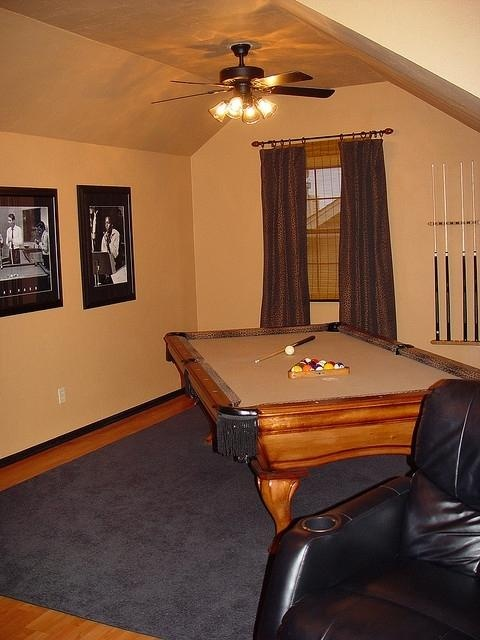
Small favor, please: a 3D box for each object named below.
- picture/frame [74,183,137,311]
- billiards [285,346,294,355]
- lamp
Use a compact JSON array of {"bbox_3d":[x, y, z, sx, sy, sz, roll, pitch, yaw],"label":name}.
[{"bbox_3d":[-1.124,-0.632,4.357,0.065,1.032,0.649,1,6,24],"label":"picture/frame"},{"bbox_3d":[0.298,0.182,3.073,0.048,0.030,0.049,-11,-19,43],"label":"billiards"},{"bbox_3d":[0.044,-1.265,2.989,0.329,0.217,0.454,0,5,16],"label":"lamp"}]
